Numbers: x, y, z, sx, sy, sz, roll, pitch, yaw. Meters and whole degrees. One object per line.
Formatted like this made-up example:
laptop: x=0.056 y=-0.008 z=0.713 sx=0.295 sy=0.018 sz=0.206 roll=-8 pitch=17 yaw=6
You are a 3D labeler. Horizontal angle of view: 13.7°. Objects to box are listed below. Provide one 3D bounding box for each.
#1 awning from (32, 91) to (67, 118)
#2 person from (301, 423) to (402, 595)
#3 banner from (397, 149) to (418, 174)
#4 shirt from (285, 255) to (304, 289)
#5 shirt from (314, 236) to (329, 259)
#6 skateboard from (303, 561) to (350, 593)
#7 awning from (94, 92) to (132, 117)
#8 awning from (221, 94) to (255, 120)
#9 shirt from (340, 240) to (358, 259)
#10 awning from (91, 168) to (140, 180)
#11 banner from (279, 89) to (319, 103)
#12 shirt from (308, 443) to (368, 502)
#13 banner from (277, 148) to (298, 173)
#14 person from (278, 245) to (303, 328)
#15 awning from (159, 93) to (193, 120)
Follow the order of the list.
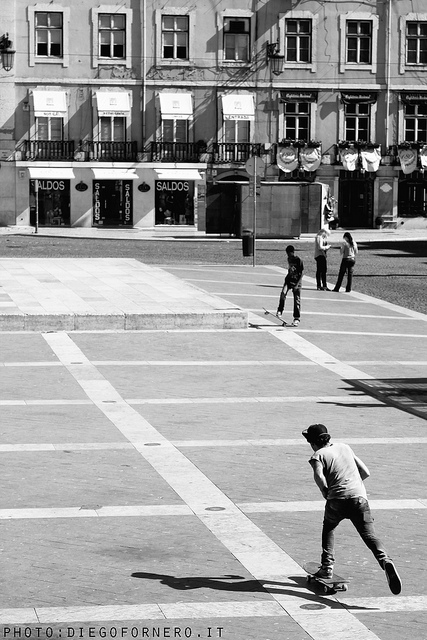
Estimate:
awning: x=-5.503 y=-7.231 z=59.460 sx=1.140 sy=0.821 sz=0.648 roll=-2 pitch=5 yaw=-19
person: x=0.989 y=1.385 z=12.981 sx=0.762 sy=1.208 sz=0.437 roll=2 pitch=5 yaw=22
banner: x=6.806 y=-5.583 z=62.165 sx=0.660 sy=0.978 sz=0.094 roll=3 pitch=21 yaw=16
shirt: x=1.189 y=-0.705 z=26.127 sx=0.233 sy=0.483 sz=0.423 roll=0 pitch=5 yaw=2
shirt: x=1.873 y=-1.286 z=31.068 sx=0.235 sy=0.405 sz=0.338 roll=-11 pitch=31 yaw=-8
skateboard: x=0.818 y=1.895 z=13.154 sx=0.255 sy=0.147 sz=0.453 roll=-5 pitch=7 yaw=-43
awning: x=-3.418 y=-7.281 z=60.062 sx=1.125 sy=0.787 sz=0.806 roll=-1 pitch=5 yaw=-7
awning: x=0.836 y=-7.245 z=60.610 sx=0.861 sy=0.966 sz=0.953 roll=-3 pitch=-26 yaw=-5
shirt: x=2.452 y=-1.232 z=31.677 sx=0.351 sy=0.420 sz=0.251 roll=-1 pitch=12 yaw=-1
awning: x=-3.356 y=-4.929 z=60.076 sx=1.601 sy=0.398 sz=0.825 roll=-1 pitch=5 yaw=-6
banner: x=2.988 y=-7.749 z=61.629 sx=1.351 sy=0.454 sz=0.330 roll=0 pitch=5 yaw=2
shirt: x=0.923 y=1.114 z=13.061 sx=0.390 sy=0.376 sz=0.233 roll=0 pitch=5 yaw=6
banner: x=2.569 y=-5.564 z=61.614 sx=0.546 sy=0.872 sz=0.794 roll=1 pitch=18 yaw=6
person: x=1.153 y=-0.506 z=26.048 sx=0.346 sy=1.130 sz=1.028 roll=-1 pitch=5 yaw=-4
awning: x=-1.280 y=-7.216 z=60.132 sx=0.857 sy=1.001 sz=0.624 roll=2 pitch=-21 yaw=-8
